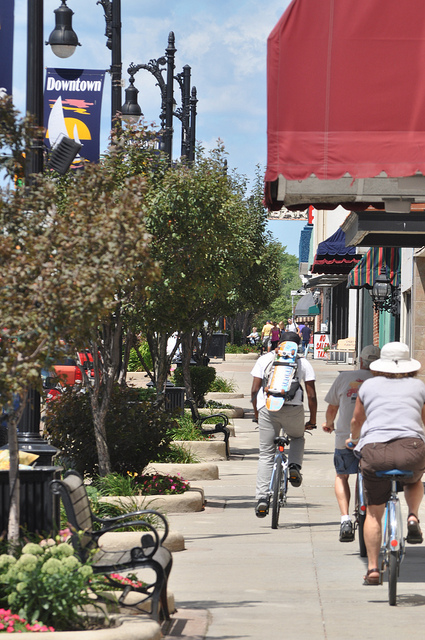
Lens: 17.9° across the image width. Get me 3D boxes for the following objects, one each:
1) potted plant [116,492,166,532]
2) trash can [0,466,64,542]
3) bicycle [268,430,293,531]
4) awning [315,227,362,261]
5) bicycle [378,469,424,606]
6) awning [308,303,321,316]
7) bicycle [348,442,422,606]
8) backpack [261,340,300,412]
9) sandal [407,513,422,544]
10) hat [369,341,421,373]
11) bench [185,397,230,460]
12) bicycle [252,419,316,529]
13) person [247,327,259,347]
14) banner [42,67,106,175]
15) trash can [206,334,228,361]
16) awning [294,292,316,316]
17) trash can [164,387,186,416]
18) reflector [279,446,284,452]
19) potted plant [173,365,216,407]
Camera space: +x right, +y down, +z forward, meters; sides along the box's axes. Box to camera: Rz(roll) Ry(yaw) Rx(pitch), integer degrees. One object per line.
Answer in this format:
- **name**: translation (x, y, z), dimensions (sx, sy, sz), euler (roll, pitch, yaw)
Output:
- **potted plant**: translation (-0.627, 1.576, 11.181), dimensions (0.429, 0.218, 0.449), euler (15, -5, 16)
- **trash can**: translation (-1.107, 1.103, 8.085), dimensions (0.370, 0.414, 0.459), euler (2, -1, -7)
- **bicycle**: translation (0.603, 1.494, 12.320), dimensions (0.346, 0.429, 0.729), euler (3, -32, 4)
- **awning**: translation (2.986, -1.695, 31.459), dimensions (1.134, 0.891, 1.120), euler (0, -1, -29)
- **bicycle**: translation (1.342, 1.569, 9.193), dimensions (0.359, 0.488, 0.843), euler (0, -31, 3)
- **awning**: translation (6.424, -0.757, 85.319), dimensions (0.760, 0.626, 1.457), euler (2, -1, 4)
- **bicycle**: translation (1.201, 1.438, 9.407), dimensions (0.815, 1.082, 1.861), euler (0, -8, 3)
- **backpack**: translation (0.615, 0.545, 12.158), dimensions (0.286, 0.845, 0.150), euler (6, -47, 6)
- **sandal**: translation (1.364, 1.432, 9.159), dimensions (0.075, 0.093, 0.223), euler (-2, -25, 8)
- **hat**: translation (1.479, 0.297, 10.856), dimensions (0.478, 0.241, 0.490), euler (0, -4, 4)
- **bench**: translation (-0.071, 1.442, 18.050), dimensions (0.585, 0.763, 0.454), euler (1, -1, 3)
- **bicycle**: translation (0.640, 1.399, 12.621), dimensions (0.669, 0.941, 1.541), euler (2, 2, 4)
- **person**: translation (2.250, 0.977, 77.979), dimensions (0.762, 0.986, 1.816), euler (-2, 17, 5)
- **banner**: translation (-1.405, -2.006, 13.499), dimensions (0.605, 1.171, 0.016), euler (1, -21, -6)
- **trash can**: translation (0.080, 1.017, 52.600), dimensions (0.801, 1.130, 0.839), euler (0, 2, 10)
- **awning**: translation (6.321, -1.025, 93.134), dimensions (1.352, 0.979, 1.376), euler (1, 3, 5)
- **trash can**: translation (-0.573, 1.184, 19.636), dimensions (0.400, 0.428, 0.406), euler (0, 0, 2)
- **reflector**: translation (0.617, 1.162, 12.129), dimensions (0.010, 0.041, 0.040), euler (2, -4, -38)
- **potted plant**: translation (-0.323, 1.161, 23.989), dimensions (0.657, 0.800, 0.778), euler (-1, 2, -1)
